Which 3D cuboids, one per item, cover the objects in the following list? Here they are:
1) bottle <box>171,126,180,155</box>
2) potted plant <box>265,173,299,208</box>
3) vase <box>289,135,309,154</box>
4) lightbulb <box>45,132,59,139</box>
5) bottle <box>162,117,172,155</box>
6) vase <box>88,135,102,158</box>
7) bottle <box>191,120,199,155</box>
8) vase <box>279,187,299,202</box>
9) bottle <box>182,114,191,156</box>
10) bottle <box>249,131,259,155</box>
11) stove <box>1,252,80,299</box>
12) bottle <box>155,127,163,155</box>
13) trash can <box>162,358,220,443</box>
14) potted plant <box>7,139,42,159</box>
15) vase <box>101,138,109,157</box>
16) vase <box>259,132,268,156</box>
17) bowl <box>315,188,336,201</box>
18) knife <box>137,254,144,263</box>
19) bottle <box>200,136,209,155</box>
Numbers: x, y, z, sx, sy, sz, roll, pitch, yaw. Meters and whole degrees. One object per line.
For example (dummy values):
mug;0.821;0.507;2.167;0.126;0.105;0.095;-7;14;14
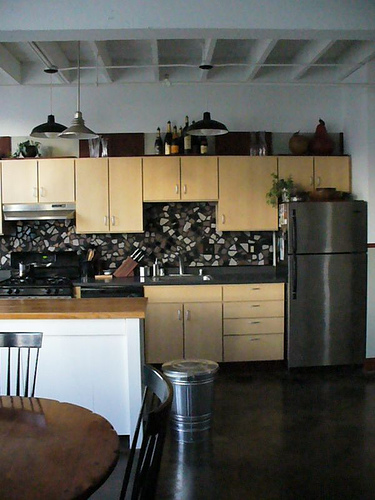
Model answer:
bottle;-0.117;-1.088;4.771;0.083;0.290;0.178;-1;5;-1
potted plant;0.937;-0.583;4.711;0.367;0.324;0.318;3;7;21
vase;1.130;-1.060;4.801;0.196;0.191;0.105;0;5;8
lightbulb;-1.160;-0.982;4.061;0.086;0.031;0.083;2;5;17
bottle;-0.203;-1.152;4.809;0.106;0.410;0.250;-1;5;-1
vase;-0.927;-1.048;4.809;0.134;0.233;0.149;-2;5;-9
bottle;0.081;-1.054;4.774;0.077;0.190;0.062;-1;5;0
vase;0.990;-0.538;4.632;0.138;0.141;0.242;-1;5;5
bottle;-0.007;-1.172;4.823;0.092;0.435;0.248;-1;5;0
bottle;0.682;-1.084;4.860;0.100;0.245;0.163;0;5;9
stove;-1.434;0.237;4.611;0.716;0.374;0.770;-2;5;-7
bottle;-0.290;-1.097;4.828;0.061;0.275;0.163;-1;5;1
trash can;0.003;1.038;3.290;0.470;0.478;0.437;1;-2;7
potted plant;-1.645;-1.006;4.802;0.269;0.111;0.251;0;11;3
vase;-0.831;-1.039;4.824;0.071;0.200;0.162;-1;5;-4
vase;0.781;-1.086;4.870;0.084;0.248;0.173;0;5;10
bowl;1.309;-0.523;4.538;0.147;0.093;0.128;2;5;7
knife;-0.488;0.085;4.971;0.017;0.024;0.103;20;46;31
bottle;0.175;-1.048;4.795;0.087;0.210;0.253;-1;5;4
